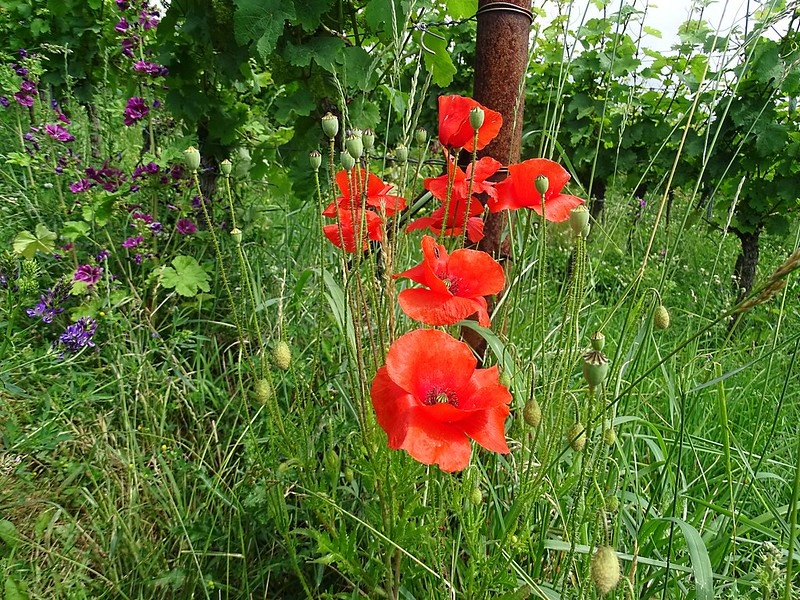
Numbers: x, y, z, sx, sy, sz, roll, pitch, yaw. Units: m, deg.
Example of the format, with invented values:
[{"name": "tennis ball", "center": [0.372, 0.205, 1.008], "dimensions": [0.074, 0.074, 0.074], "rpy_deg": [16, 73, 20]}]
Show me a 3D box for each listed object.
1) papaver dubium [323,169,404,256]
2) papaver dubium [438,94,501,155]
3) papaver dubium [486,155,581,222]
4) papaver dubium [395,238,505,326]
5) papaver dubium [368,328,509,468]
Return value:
[{"name": "papaver dubium", "center": [-0.142, -0.367, 2.210], "dimensions": [0.218, 0.164, 0.249], "rpy_deg": [2, 20, 28]}, {"name": "papaver dubium", "center": [0.231, -0.615, 2.301], "dimensions": [0.192, 0.148, 0.207], "rpy_deg": [24, -3, -7]}, {"name": "papaver dubium", "center": [0.463, -0.389, 2.288], "dimensions": [0.351, 0.175, 0.384], "rpy_deg": [-4, 1, -4]}, {"name": "papaver dubium", "center": [0.143, -0.059, 2.052], "dimensions": [0.313, 0.250, 0.242], "rpy_deg": [-21, 38, -40]}, {"name": "papaver dubium", "center": [0.137, 0.286, 1.959], "dimensions": [0.383, 0.273, 0.328], "rpy_deg": [-8, 32, -24]}]
